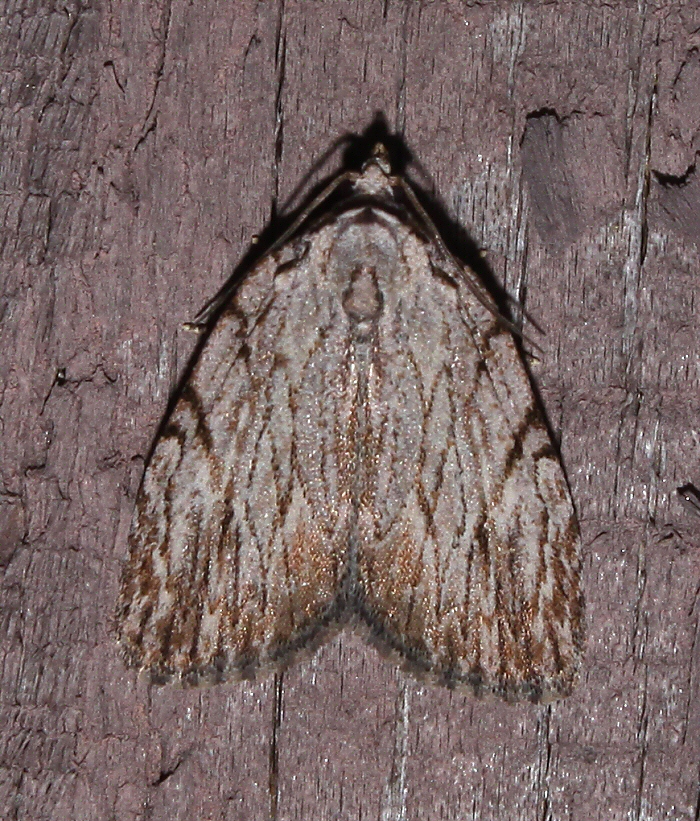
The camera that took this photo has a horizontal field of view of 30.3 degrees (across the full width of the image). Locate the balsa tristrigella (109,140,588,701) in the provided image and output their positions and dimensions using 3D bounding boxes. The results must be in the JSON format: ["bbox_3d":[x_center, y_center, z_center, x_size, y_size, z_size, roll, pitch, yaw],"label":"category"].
[{"bbox_3d":[0.016,0.118,3.646,0.820,0.322,1.662,2,92,3],"label":"balsa tristrigella"}]
